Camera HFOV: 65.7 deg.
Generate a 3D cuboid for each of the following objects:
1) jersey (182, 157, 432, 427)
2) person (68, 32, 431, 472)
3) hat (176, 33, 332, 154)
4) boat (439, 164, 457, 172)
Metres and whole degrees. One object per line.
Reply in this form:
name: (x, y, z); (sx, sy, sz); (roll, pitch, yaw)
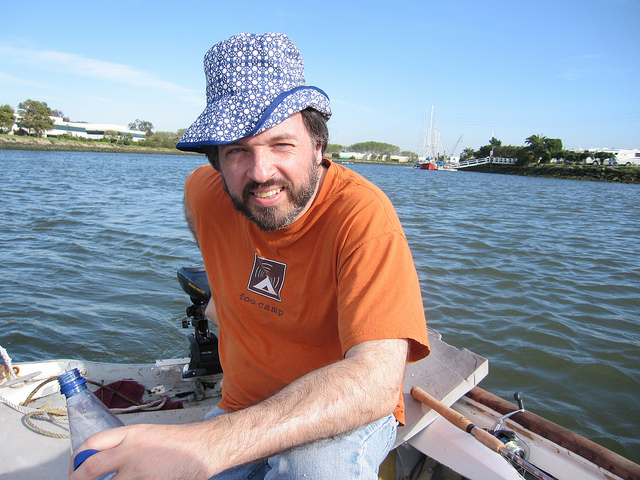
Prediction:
jersey: (-0.116, 0.344, 2.718); (0.589, 1.453, 1.523); (-4, 15, -37)
person: (-0.218, 0.073, 2.495); (1.182, 2.164, 1.263); (1, 12, -19)
hat: (-0.375, -0.835, 2.712); (0.893, 0.492, 0.714); (-22, 25, -36)
boat: (20.639, -11.696, 81.029); (2.580, 0.681, 2.367); (-1, 15, 8)
